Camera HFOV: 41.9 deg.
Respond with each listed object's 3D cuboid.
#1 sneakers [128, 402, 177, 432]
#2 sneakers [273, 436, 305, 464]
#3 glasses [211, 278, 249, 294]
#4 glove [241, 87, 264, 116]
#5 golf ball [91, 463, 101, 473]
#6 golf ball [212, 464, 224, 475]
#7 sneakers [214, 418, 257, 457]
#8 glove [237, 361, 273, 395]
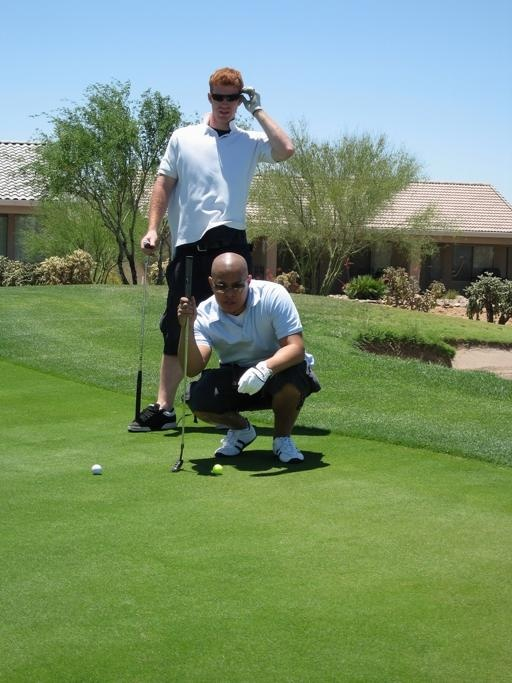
[{"bbox_3d":[-0.635,0.478,4.217,0.126,0.170,0.425,3,2,32],"label":"sneakers"},{"bbox_3d":[0.169,0.573,3.538,0.118,0.116,0.290,2,2,-15],"label":"sneakers"},{"bbox_3d":[-0.132,-0.288,3.531,0.187,0.074,0.121,2,2,-10],"label":"glasses"},{"bbox_3d":[-0.032,-1.488,4.097,0.117,0.201,0.308,2,2,-2],"label":"glove"},{"bbox_3d":[-0.722,0.575,3.043,0.037,0.037,0.038,38,0,0],"label":"golf ball"},{"bbox_3d":[-0.182,0.601,3.145,0.038,0.036,0.037,-22,7,3],"label":"golf ball"},{"bbox_3d":[-0.109,0.548,3.717,0.100,0.106,0.292,-2,9,31],"label":"sneakers"},{"bbox_3d":[0.010,0.199,3.472,0.179,0.136,0.076,-37,-24,-8],"label":"glove"}]
